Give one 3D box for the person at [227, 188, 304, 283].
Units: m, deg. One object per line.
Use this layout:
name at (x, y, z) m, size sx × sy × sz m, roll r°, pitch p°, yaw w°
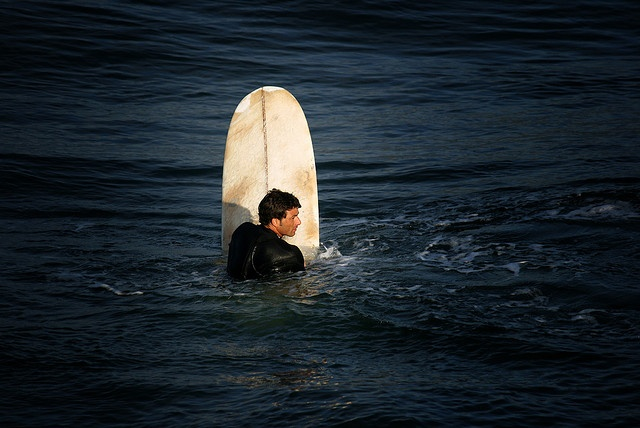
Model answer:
person at (-0.830, 0.328, 15.920) m, size 1.142 × 1.414 × 0.792 m, roll 4°, pitch -30°, yaw 5°
